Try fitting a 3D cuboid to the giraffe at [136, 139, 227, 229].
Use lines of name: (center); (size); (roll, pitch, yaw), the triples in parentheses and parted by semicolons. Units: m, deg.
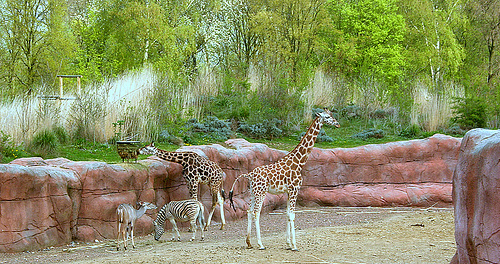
giraffe: (-4.034, 2.048, 37.559); (3.279, 4.897, 6.686); (1, -2, -33)
